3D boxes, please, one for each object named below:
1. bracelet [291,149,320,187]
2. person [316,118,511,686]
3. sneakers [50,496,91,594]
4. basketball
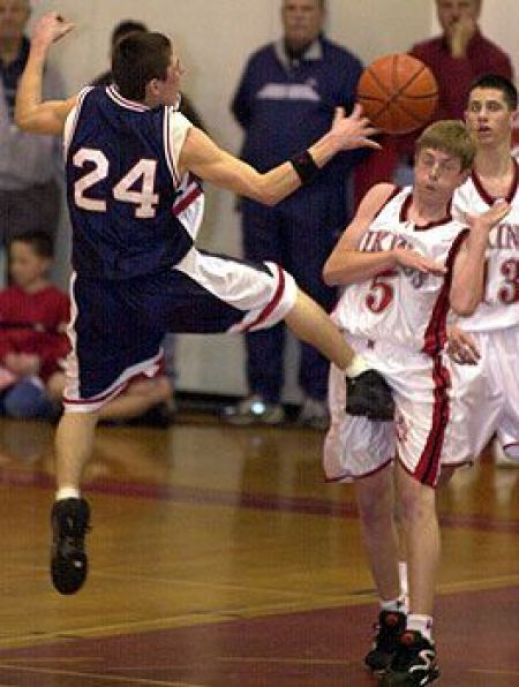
[{"bbox_3d":[0.108,-0.434,2.067,0.036,0.063,0.085,28,-18,48],"label":"bracelet"},{"bbox_3d":[0.321,0.100,1.798,0.335,1.099,0.519,3,1,-8],"label":"person"},{"bbox_3d":[-0.419,0.462,1.897,0.105,0.212,0.104,4,-21,-17],"label":"sneakers"},{"bbox_3d":[0.387,-0.678,2.222,0.269,0.199,0.223,-5,25,-1],"label":"basketball"}]
